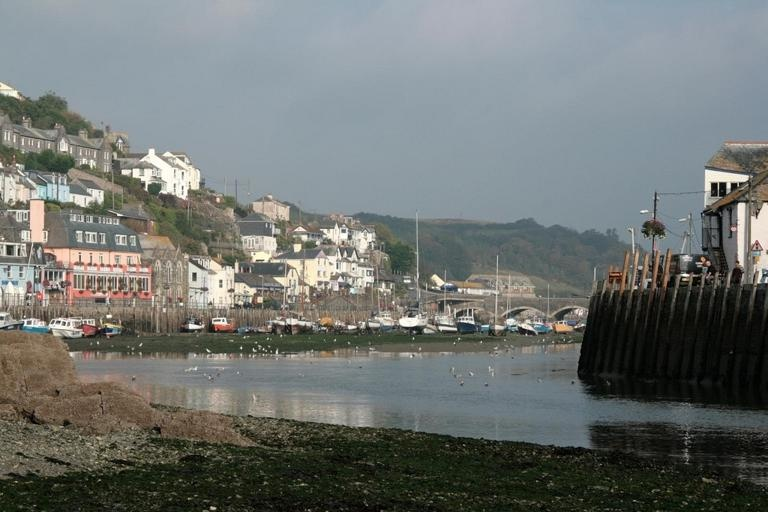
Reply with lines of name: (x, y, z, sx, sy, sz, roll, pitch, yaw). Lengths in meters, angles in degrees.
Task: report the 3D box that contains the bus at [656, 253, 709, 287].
bus: (28.711, 1.331, 154.535, 3.035, 2.511, 5.123, 3, 5, -1)
